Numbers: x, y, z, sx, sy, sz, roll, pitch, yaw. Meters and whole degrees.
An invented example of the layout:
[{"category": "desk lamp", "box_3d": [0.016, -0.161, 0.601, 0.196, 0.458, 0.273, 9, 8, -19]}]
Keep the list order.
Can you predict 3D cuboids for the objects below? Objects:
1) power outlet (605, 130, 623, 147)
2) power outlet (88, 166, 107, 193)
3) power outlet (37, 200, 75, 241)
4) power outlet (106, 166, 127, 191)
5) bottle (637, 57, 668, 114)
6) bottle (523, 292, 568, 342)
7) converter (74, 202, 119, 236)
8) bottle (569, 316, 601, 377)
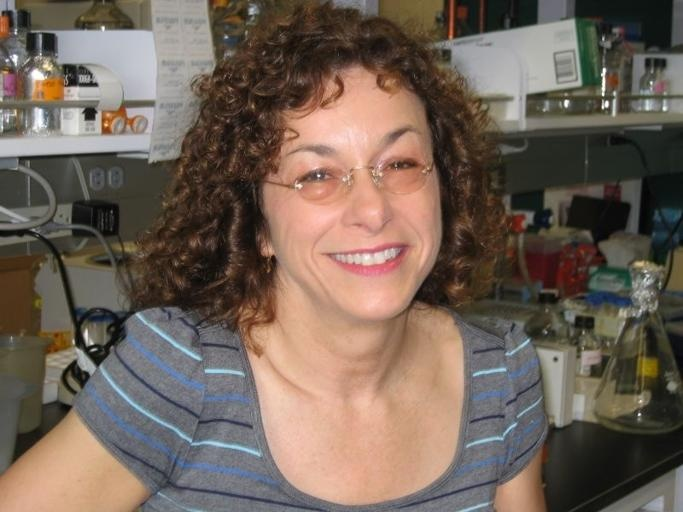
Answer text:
[{"category": "power outlet", "box_3d": [1.396, -0.599, 3.518, 0.056, 0.072, 0.177, 2, 11, 30]}, {"category": "power outlet", "box_3d": [-0.920, -0.293, 2.575, 0.015, 0.128, 0.087, 7, 10, 35]}, {"category": "power outlet", "box_3d": [-1.022, -0.138, 2.444, 0.151, 0.160, 0.037, 0, 9, 1]}, {"category": "power outlet", "box_3d": [-0.866, -0.303, 2.630, 0.013, 0.107, 0.072, 13, 21, 41]}, {"category": "bottle", "box_3d": [1.204, -0.666, 2.651, 0.092, 0.206, 0.174, 5, 12, 44]}, {"category": "bottle", "box_3d": [0.700, 0.209, 2.360, 0.104, 0.075, 0.197, 0, 9, 12]}, {"category": "converter", "box_3d": [-0.808, -0.118, 2.246, 0.149, 0.117, 0.159, 3, 3, 4]}, {"category": "bottle", "box_3d": [0.805, 0.317, 2.266, 0.062, 0.100, 0.193, -3, 49, 15]}]
